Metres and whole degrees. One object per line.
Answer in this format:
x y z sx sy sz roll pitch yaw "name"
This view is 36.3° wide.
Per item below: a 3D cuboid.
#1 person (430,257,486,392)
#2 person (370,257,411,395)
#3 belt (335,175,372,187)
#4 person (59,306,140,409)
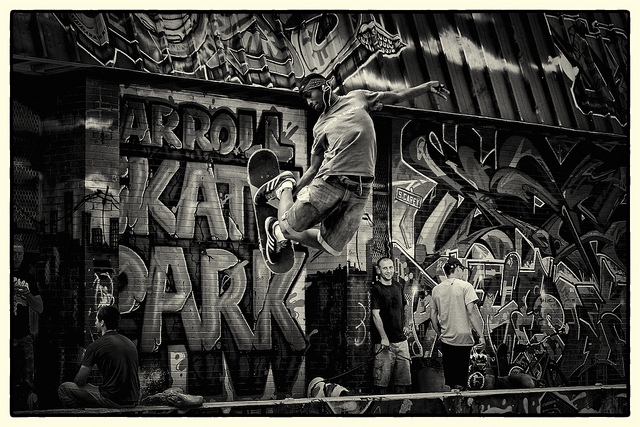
2.782 2.220 19.937 1.009 2.729 0.738 2 -12 8 "person"
1.408 2.278 19.710 0.937 2.702 0.298 12 -14 -35 "person"
0.616 -0.602 18.714 0.409 0.117 0.297 16 -2 8 "belt"
-3.821 2.582 17.327 1.223 1.797 0.743 4 -12 -3 "person"
